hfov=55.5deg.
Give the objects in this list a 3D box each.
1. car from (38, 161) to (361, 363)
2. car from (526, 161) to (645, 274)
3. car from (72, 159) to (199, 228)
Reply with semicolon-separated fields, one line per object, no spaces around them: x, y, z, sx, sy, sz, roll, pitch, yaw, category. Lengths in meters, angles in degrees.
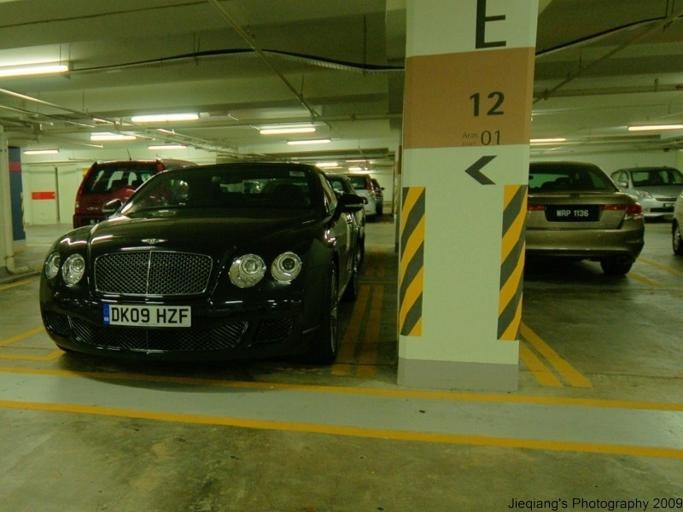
-0.983;-0.073;6.566;1.834;1.051;2.921;1;3;9;car
3.292;-0.535;8.852;1.447;1.424;1.340;2;11;16;car
-3.838;-1.163;11.039;1.375;0.997;2.218;0;13;5;car
